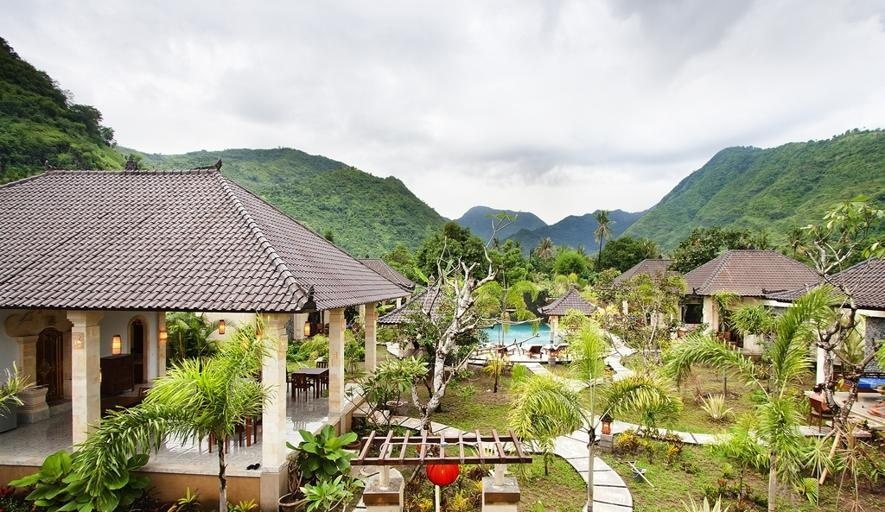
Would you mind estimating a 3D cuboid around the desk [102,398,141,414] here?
[{"bbox_3d":[-15.256,6.966,25.521,1.831,0.571,0.998,-4,-9,18],"label":"desk"}]

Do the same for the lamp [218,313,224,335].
[{"bbox_3d":[-9.880,3.168,24.543,0.181,0.589,1.134,2,-9,-26],"label":"lamp"}]

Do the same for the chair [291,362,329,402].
[{"bbox_3d":[-6.722,6.504,28.300,2.047,1.183,1.986,1,4,13],"label":"chair"}]

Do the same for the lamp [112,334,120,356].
[{"bbox_3d":[-16.075,4.423,27.056,0.406,0.931,1.227,3,-9,-30],"label":"lamp"}]

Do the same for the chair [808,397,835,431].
[{"bbox_3d":[17.577,7.362,25.555,0.812,1.495,2.018,-5,-9,31],"label":"chair"}]

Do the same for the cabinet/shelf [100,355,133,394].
[{"bbox_3d":[-15.742,5.742,26.401,0.721,1.850,2.000,-3,-5,8],"label":"cabinet/shelf"}]
